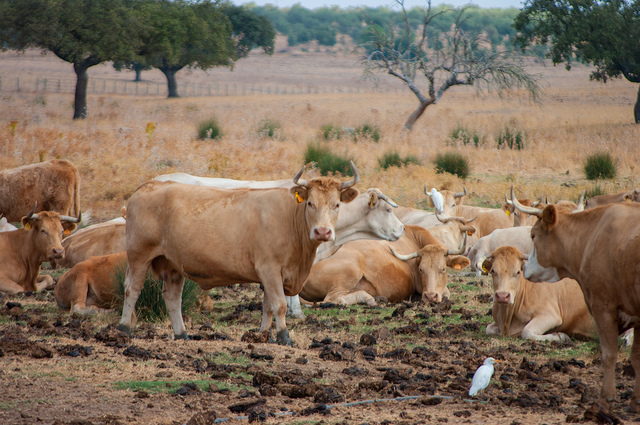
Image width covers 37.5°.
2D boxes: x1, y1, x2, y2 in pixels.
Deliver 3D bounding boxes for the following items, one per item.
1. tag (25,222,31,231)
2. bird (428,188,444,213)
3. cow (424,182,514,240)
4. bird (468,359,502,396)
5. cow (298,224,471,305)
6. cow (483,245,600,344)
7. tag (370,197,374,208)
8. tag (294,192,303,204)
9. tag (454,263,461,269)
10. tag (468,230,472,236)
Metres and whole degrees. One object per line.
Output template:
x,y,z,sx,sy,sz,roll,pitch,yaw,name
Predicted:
-8.512,0.414,27.471,0.130,0.184,0.051,-1,13,-4,tag
3.771,-0.415,30.467,0.327,0.810,0.368,-13,11,7,bird
4.974,0.192,31.536,2.945,2.230,1.484,14,5,18,cow
4.074,4.024,23.274,1.068,0.898,0.538,-1,3,-43,bird
1.654,1.649,27.149,3.480,1.639,2.431,0,1,-13,cow
6.194,2.371,26.270,5.221,2.425,1.806,5,1,-42,cow
1.456,-0.296,26.360,0.058,0.240,0.047,3,7,-19,tag
-0.544,-0.356,24.216,0.275,0.284,0.168,-21,14,-23,tag
3.940,1.525,26.961,0.133,0.132,0.036,1,-7,6,tag
4.556,0.627,28.506,0.126,0.131,0.123,-2,8,-19,tag
